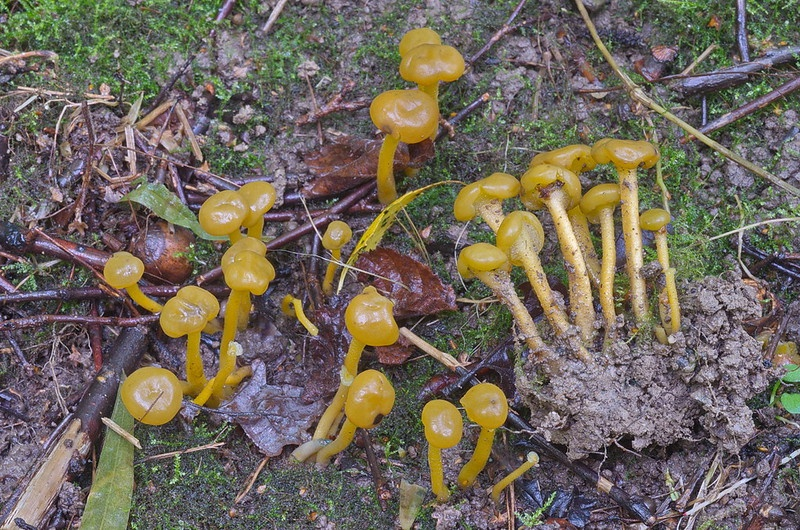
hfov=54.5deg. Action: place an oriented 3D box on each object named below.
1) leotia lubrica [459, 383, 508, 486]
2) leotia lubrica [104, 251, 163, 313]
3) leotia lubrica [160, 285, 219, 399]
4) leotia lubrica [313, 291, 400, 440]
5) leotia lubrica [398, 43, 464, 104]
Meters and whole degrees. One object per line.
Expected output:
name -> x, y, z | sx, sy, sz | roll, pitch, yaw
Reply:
leotia lubrica -> 0.546, 1.149, 5.255 | 0.291, 0.733, 0.704 | 0, 82, 0
leotia lubrica -> -1.793, 0.084, 5.258 | 0.296, 0.487, 0.396 | 5, 20, 24
leotia lubrica -> -1.313, 0.564, 5.002 | 0.293, 0.386, 0.740 | 6, 41, -24
leotia lubrica -> -0.374, 0.790, 5.281 | 0.462, 1.119, 0.329 | 29, 25, 24
leotia lubrica -> 0.229, -1.433, 5.497 | 0.437, 0.112, 0.286 | 1, 82, 0
